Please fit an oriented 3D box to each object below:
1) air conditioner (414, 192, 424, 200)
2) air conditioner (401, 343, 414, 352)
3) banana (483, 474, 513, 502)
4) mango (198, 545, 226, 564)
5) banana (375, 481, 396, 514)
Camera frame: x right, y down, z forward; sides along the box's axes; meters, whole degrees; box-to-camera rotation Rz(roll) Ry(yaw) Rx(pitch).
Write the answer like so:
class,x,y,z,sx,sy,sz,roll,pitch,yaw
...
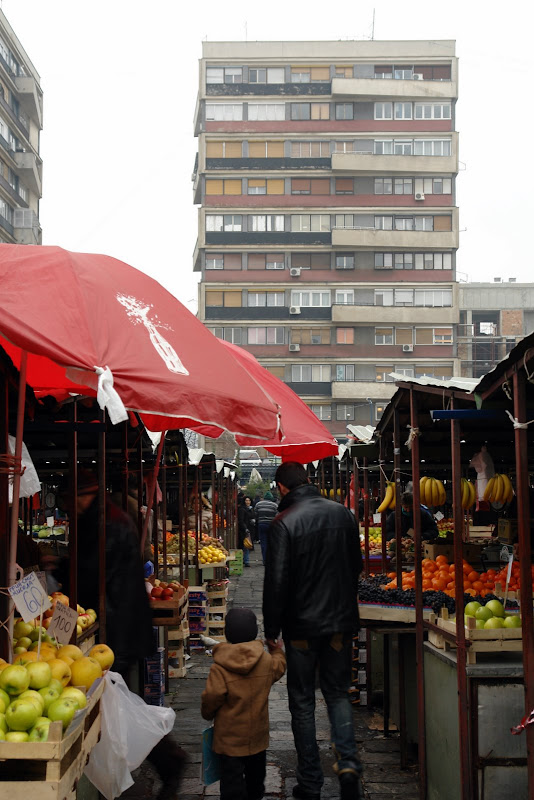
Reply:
class,x,y,z,sx,sy,sz,roll,pitch,yaw
air conditioner,9.329,-12.145,54.623,0.689,0.654,0.388,0,-3,6
air conditioner,8.620,-3.116,54.563,0.749,0.561,0.423,1,-9,-8
banana,1.838,0.686,7.131,0.209,0.207,0.389,-3,-9,13
mango,-0.833,2.325,13.484,0.318,0.226,0.433,1,-2,6
banana,1.250,1.017,9.097,0.138,0.244,0.632,11,-23,19
